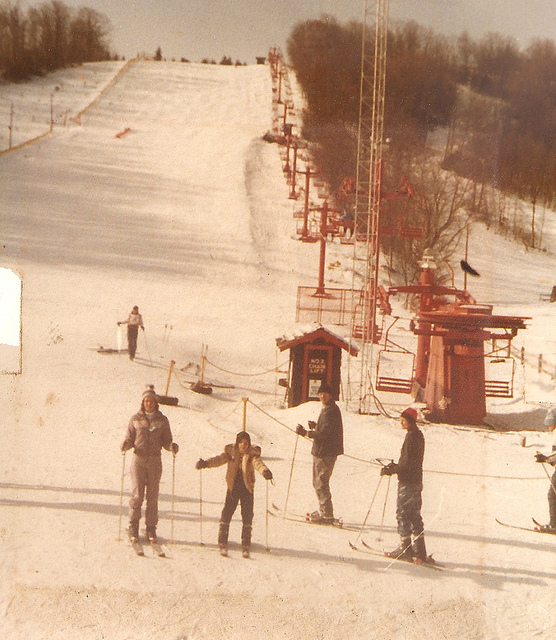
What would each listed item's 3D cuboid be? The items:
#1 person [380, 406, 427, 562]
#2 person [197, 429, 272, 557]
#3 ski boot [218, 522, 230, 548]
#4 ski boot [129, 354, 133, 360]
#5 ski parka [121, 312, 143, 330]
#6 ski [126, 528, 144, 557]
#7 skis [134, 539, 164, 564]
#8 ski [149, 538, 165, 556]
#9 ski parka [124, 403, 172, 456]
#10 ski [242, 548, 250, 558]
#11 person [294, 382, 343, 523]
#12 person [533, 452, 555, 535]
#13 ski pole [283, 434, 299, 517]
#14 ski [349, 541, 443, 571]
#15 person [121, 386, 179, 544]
[{"bbox_3d":[1.941,2.496,14.962,0.631,2.288,0.360,3,9,7],"label":"person"},{"bbox_3d":[-0.628,2.555,14.835,1.001,1.996,0.668,5,10,4],"label":"person"},{"bbox_3d":[-0.843,3.219,14.996,0.146,0.439,0.192,0,9,-12],"label":"ski boot"},{"bbox_3d":[-3.966,0.990,26.569,0.076,0.162,0.104,-1,10,-19],"label":"ski boot"},{"bbox_3d":[-3.859,0.041,26.136,0.444,0.476,0.388,0,10,-12],"label":"ski parka"},{"bbox_3d":[-2.166,3.351,14.967,0.091,0.080,0.556,8,27,-31],"label":"ski"},{"bbox_3d":[-1.899,3.434,14.851,0.257,0.092,0.307,0,29,-18],"label":"skis"},{"bbox_3d":[-1.835,3.375,14.868,0.107,0.082,0.397,14,25,-33],"label":"ski"},{"bbox_3d":[-1.967,1.646,14.852,0.698,0.741,0.390,0,9,-11],"label":"ski parka"},{"bbox_3d":[-0.495,3.496,14.943,0.099,0.118,0.071,-4,-7,11],"label":"ski"},{"bbox_3d":[0.647,2.170,15.865,0.672,2.362,0.523,1,9,-2],"label":"person"},{"bbox_3d":[4.319,2.758,16.053,0.347,1.368,0.590,5,9,19],"label":"person"},{"bbox_3d":[0.224,2.937,18.522,0.014,1.504,0.091,8,-7,4],"label":"ski pole"},{"bbox_3d":[1.765,3.598,15.121,1.463,0.241,0.165,10,2,22],"label":"ski"},{"bbox_3d":[-1.985,2.218,14.924,0.745,2.220,0.443,-1,9,-16],"label":"person"}]
